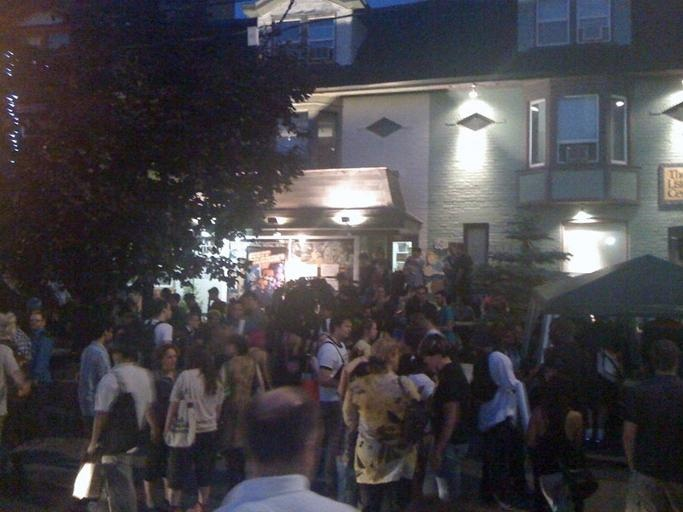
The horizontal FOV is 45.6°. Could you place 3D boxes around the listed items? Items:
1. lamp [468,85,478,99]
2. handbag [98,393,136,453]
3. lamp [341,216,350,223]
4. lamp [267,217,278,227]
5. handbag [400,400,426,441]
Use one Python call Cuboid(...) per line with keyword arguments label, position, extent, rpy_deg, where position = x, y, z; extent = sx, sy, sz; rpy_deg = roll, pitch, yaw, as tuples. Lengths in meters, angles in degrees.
Cuboid(label="lamp", position=(3.629, -4.637, 22.917), extent=(0.267, 0.369, 0.270), rpy_deg=(1, -1, 1))
Cuboid(label="handbag", position=(-3.091, 2.279, 11.102), extent=(0.470, 0.838, 0.667), rpy_deg=(-5, -11, 21))
Cuboid(label="lamp", position=(0.094, -0.909, 20.381), extent=(0.160, 0.160, 0.042), rpy_deg=(-3, 12, 5))
Cuboid(label="lamp", position=(-1.795, -0.884, 20.764), extent=(0.231, 0.107, 0.295), rpy_deg=(0, -5, 0))
Cuboid(label="handbag", position=(0.928, 2.097, 10.263), extent=(0.299, 0.473, 0.112), rpy_deg=(6, -1, 1))
